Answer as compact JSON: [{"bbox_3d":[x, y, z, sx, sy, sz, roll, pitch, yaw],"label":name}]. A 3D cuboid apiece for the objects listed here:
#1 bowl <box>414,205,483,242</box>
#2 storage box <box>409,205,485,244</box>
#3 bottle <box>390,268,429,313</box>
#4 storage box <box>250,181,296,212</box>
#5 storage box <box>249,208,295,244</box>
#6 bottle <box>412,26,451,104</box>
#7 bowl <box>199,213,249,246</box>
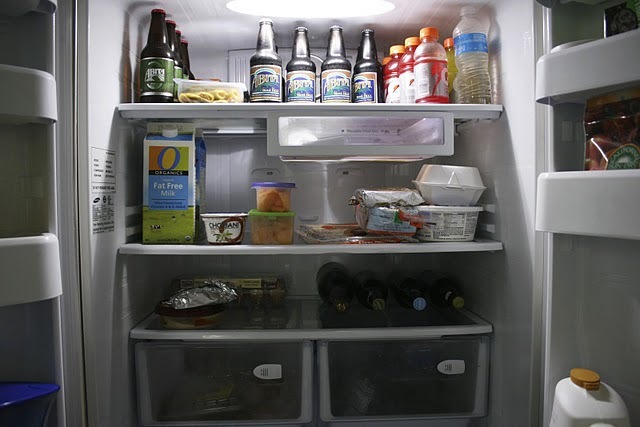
[{"bbox_3d":[0.477,0.038,1.807,0.196,0.089,0.147,0,-2,-2],"label":"bowl"},{"bbox_3d":[0.517,0.057,1.876,0.278,0.127,0.208,0,-12,35],"label":"storage box"},{"bbox_3d":[0.358,0.314,2.069,0.143,0.072,0.266,-13,28,-18],"label":"bottle"},{"bbox_3d":[-0.183,-0.056,1.898,0.186,0.112,0.189,3,-4,-42],"label":"storage box"},{"bbox_3d":[-0.180,0.045,1.816,0.146,0.080,0.138,0,4,-6],"label":"storage box"},{"bbox_3d":[0.413,-0.552,1.857,0.149,0.293,0.141,-4,1,0],"label":"bottle"},{"bbox_3d":[-0.357,0.057,1.832,0.133,0.074,0.134,0,2,0],"label":"bowl"}]
